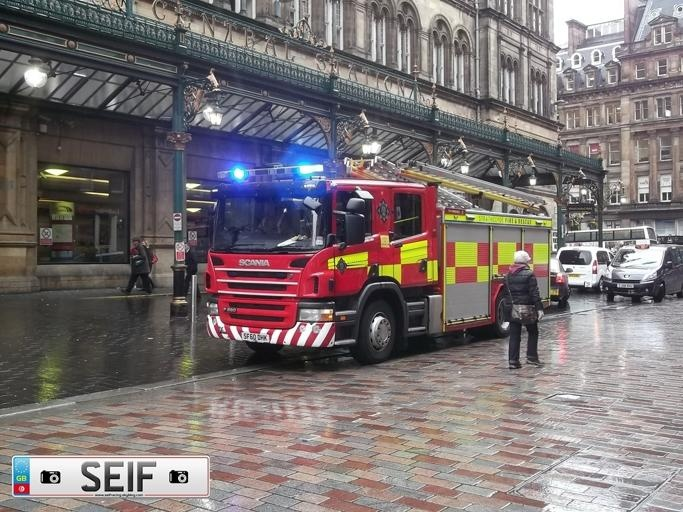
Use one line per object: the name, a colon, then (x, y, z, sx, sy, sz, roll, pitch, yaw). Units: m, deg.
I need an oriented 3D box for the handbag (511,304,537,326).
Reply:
handbag: (2.982, 0.960, 11.404, 0.313, 0.346, 0.141, -1, -6, -3)

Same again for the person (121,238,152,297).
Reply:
person: (-6.592, 0.303, 23.263, 0.786, 1.997, 0.698, 8, 8, 43)

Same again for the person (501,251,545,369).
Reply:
person: (2.979, 0.832, 11.449, 0.569, 1.786, 0.735, 0, 0, 43)

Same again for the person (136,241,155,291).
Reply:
person: (-6.669, 0.373, 23.835, 0.528, 0.659, 1.796, 2, -46, -13)

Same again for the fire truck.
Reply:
fire truck: (1.673, 0.197, 13.930, 8.814, 3.039, 2.662, 1, -1, -45)

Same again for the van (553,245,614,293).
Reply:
van: (10.006, 0.496, 29.870, 1.523, 1.794, 4.068, 0, 0, 40)
